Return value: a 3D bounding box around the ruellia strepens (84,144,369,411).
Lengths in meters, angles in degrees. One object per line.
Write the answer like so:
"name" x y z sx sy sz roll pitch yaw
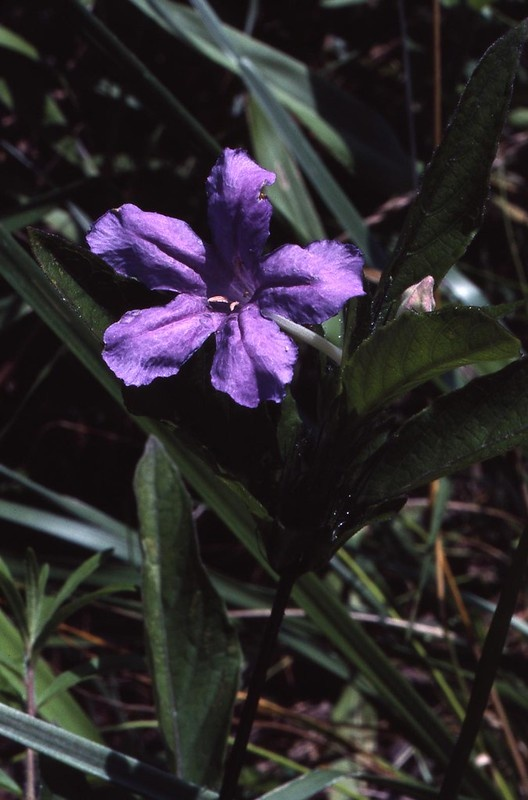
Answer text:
"ruellia strepens" -0.052 -0.119 0.799 0.226 0.098 0.250 -51 -36 0
